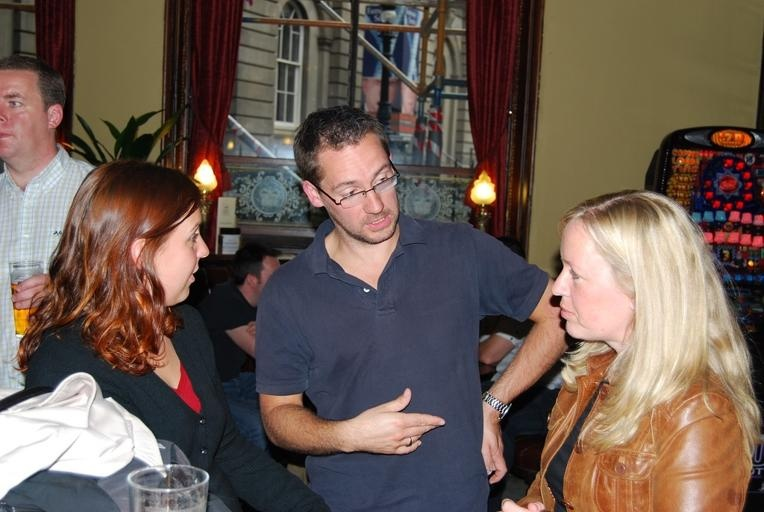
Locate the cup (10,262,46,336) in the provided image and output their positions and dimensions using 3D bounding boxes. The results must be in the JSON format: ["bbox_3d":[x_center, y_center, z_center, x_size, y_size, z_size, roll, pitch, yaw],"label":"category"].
[{"bbox_3d":[-1.394,0.181,2.595,0.117,0.305,0.267,-6,14,-29],"label":"cup"}]
